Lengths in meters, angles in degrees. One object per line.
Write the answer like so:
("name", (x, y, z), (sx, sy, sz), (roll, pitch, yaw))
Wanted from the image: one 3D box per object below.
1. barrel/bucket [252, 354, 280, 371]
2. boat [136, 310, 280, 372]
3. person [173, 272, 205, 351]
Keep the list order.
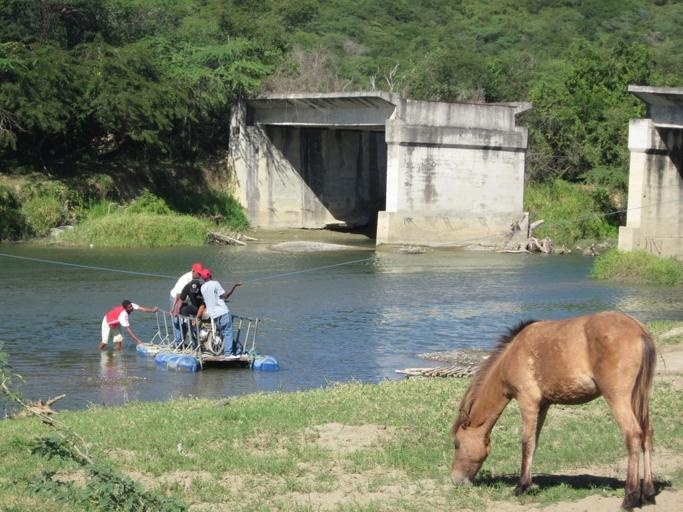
("barrel/bucket", (-2.833, 4.060, 53.975), (1.027, 0.478, 0.553), (2, 7, 1))
("boat", (-5.709, 3.294, 56.030), (4.291, 2.108, 5.913), (2, 1, -33))
("person", (-5.942, 1.881, 55.088), (1.166, 3.025, 0.968), (-2, 11, -36))
